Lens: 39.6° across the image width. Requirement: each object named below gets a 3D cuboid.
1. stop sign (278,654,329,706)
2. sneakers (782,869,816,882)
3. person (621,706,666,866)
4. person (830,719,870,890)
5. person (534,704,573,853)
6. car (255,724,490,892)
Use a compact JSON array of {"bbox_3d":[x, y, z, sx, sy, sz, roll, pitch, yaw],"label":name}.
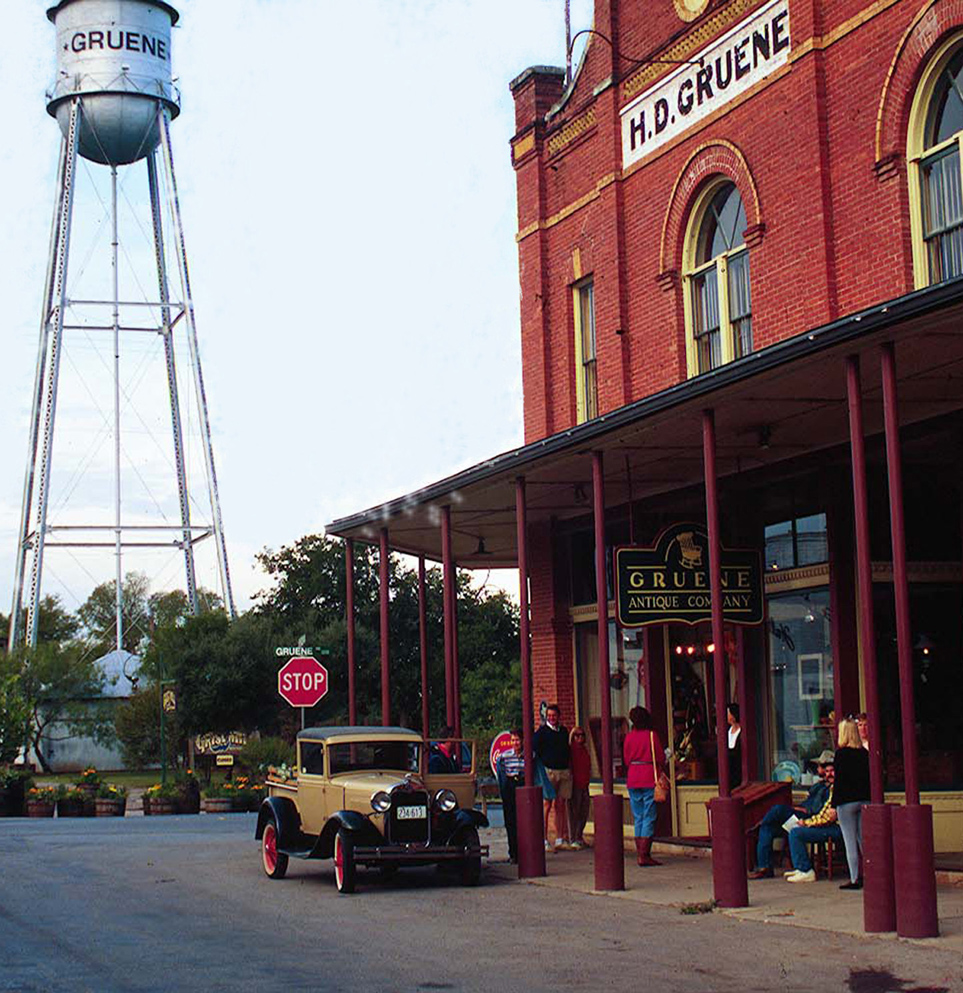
[{"bbox_3d":[-4.026,4.097,30.146,0.978,1.202,1.200,-1,-13,-3],"label":"stop sign"},{"bbox_3d":[3.336,3.926,13.894,0.208,0.099,0.160,2,-6,5],"label":"sneakers"},{"bbox_3d":[1.986,3.471,16.120,0.448,1.889,1.097,-3,-12,8],"label":"person"},{"bbox_3d":[3.467,2.829,12.509,0.359,1.576,0.919,-4,-12,15],"label":"person"},{"bbox_3d":[1.029,3.930,18.782,0.499,1.952,1.565,-2,-13,4],"label":"person"},{"bbox_3d":[-1.170,3.596,15.685,2.176,1.903,2.831,4,-15,-23],"label":"car"}]
